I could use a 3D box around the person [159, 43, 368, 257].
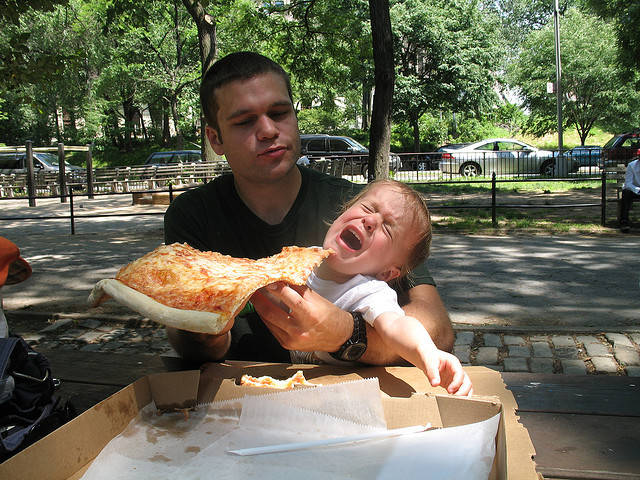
[{"bbox_3d":[-0.180,-0.345,2.419,1.574,0.985,0.622,-1,5,4],"label":"person"}]

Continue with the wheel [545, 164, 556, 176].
[{"bbox_3d":[10.118,-3.104,21.344,0.447,0.523,0.950,-4,5,16],"label":"wheel"}]

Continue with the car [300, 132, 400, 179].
[{"bbox_3d":[1.422,-4.282,24.011,5.822,2.131,2.378,7,30,39],"label":"car"}]

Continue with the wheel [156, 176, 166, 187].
[{"bbox_3d":[-7.511,-2.785,23.056,0.399,0.547,1.250,-8,5,-19],"label":"wheel"}]

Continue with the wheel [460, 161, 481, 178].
[{"bbox_3d":[6.741,-3.249,21.974,1.083,0.871,0.323,0,13,-2],"label":"wheel"}]

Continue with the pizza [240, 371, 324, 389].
[{"bbox_3d":[-0.156,0.471,1.603,0.195,0.033,0.102,3,-3,9],"label":"pizza"}]

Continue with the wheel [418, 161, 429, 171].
[{"bbox_3d":[4.439,-3.242,20.982,0.516,0.426,0.156,3,18,-26],"label":"wheel"}]

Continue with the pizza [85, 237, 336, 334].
[{"bbox_3d":[-0.368,0.135,1.694,0.542,0.152,0.534,16,18,33],"label":"pizza"}]

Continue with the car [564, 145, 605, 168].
[{"bbox_3d":[11.957,-3.808,22.081,1.242,1.020,3.804,-2,5,35],"label":"car"}]

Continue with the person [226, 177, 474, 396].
[{"bbox_3d":[0.185,0.228,2.081,0.996,0.320,0.912,21,33,23],"label":"person"}]
